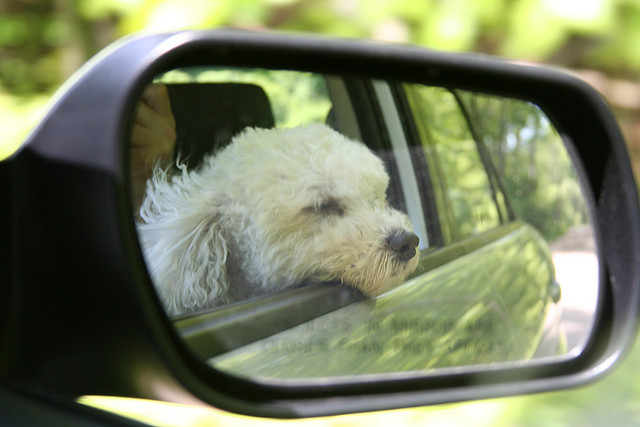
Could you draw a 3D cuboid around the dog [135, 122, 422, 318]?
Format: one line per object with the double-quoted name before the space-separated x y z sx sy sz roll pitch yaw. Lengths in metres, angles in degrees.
"dog" -0.099 0.044 2.125 0.680 0.506 0.387 21 -66 11
